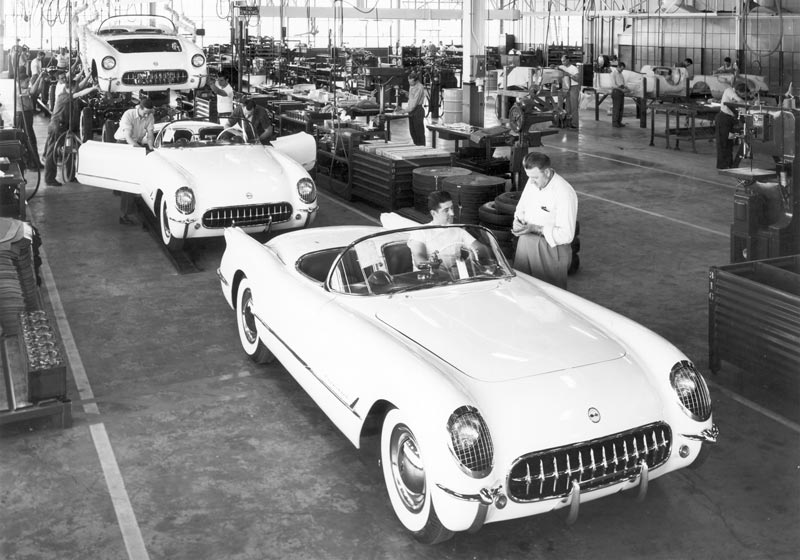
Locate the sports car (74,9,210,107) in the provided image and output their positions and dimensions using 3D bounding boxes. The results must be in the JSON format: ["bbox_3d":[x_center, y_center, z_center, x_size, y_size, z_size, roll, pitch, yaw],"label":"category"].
[{"bbox_3d":[-6.491,-5.439,18.533,1.863,1.465,3.531,-8,26,-22],"label":"sports car"}]

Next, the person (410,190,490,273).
[{"bbox_3d":[0.583,-0.522,7.795,0.645,0.978,0.433,-11,-5,-24],"label":"person"}]

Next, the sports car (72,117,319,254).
[{"bbox_3d":[-2.953,-1.536,11.015,2.215,1.025,2.523,-11,27,-32],"label":"sports car"}]

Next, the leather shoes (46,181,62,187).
[{"bbox_3d":[-7.031,-1.944,15.021,0.246,0.141,0.111,3,15,3],"label":"leather shoes"}]
